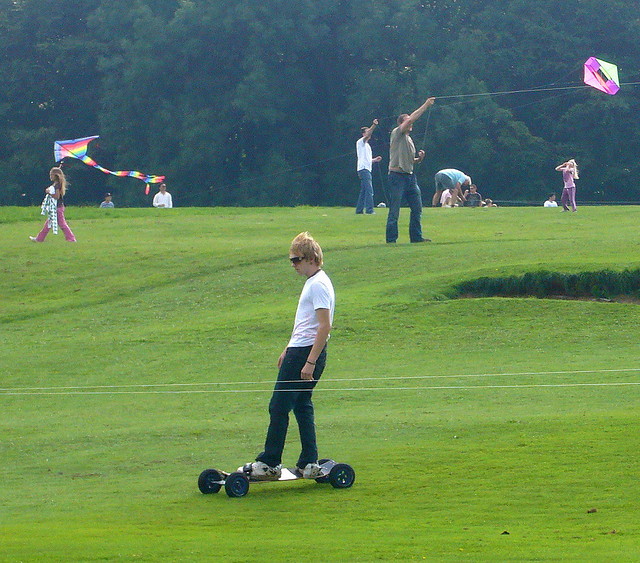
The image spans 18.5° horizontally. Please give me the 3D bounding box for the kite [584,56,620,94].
[{"bbox_3d":[10.753,-7.910,76.069,0.647,1.413,1.612,-37,-3,-15],"label":"kite"}]

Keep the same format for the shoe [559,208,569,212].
[{"bbox_3d":[9.785,-2.785,79.769,0.543,0.224,0.170,7,12,42],"label":"shoe"}]

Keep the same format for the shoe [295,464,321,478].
[{"bbox_3d":[-0.313,6.046,61.024,0.553,0.270,0.344,0,6,-1],"label":"shoe"}]
